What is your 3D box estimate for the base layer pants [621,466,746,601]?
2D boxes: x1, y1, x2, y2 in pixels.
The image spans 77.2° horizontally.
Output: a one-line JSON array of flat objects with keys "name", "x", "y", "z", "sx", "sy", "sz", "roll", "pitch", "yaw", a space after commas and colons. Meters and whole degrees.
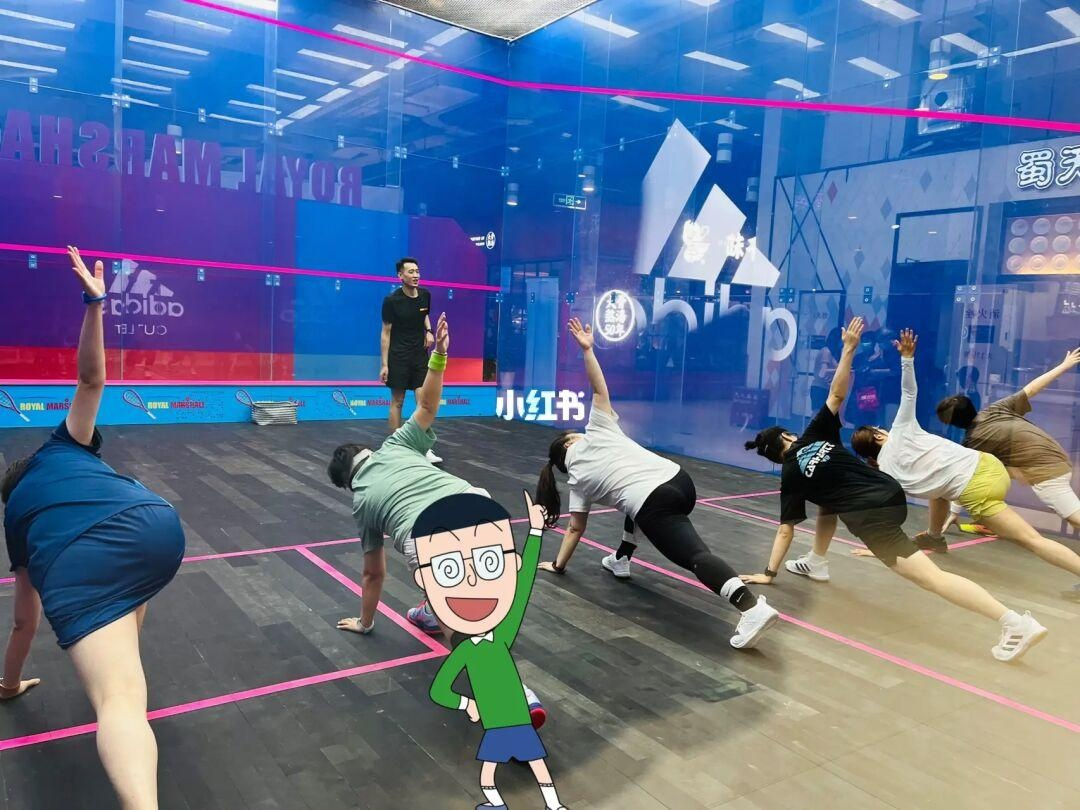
[{"name": "base layer pants", "x": 0.781, "y": 0.691, "z": 3.437, "sx": 0.345, "sy": 0.584, "sz": 0.600, "roll": -3, "pitch": 11, "yaw": -25}]

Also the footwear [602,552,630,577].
[{"name": "footwear", "x": 0.495, "y": 1.029, "z": 4.360, "sx": 0.085, "sy": 0.099, "sz": 0.230, "roll": 1, "pitch": 6, "yaw": -13}]

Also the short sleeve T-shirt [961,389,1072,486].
[{"name": "short sleeve T-shirt", "x": 2.011, "y": 0.135, "z": 2.804, "sx": 0.191, "sy": 0.329, "sz": 0.419, "roll": -2, "pitch": 11, "yaw": -19}]

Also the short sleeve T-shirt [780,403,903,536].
[{"name": "short sleeve T-shirt", "x": 1.512, "y": 0.356, "z": 3.535, "sx": 0.526, "sy": 0.279, "sz": 0.604, "roll": -34, "pitch": 32, "yaw": -7}]

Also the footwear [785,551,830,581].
[{"name": "footwear", "x": 1.671, "y": 0.994, "z": 4.211, "sx": 0.115, "sy": 0.121, "sz": 0.265, "roll": -3, "pitch": 5, "yaw": -24}]

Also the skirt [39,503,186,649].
[{"name": "skirt", "x": -1.531, "y": 0.514, "z": 2.334, "sx": 0.362, "sy": 0.579, "sz": 0.414, "roll": 4, "pitch": 5, "yaw": -17}]

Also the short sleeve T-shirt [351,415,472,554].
[{"name": "short sleeve T-shirt", "x": -0.603, "y": 0.323, "z": 2.826, "sx": 0.442, "sy": 0.290, "sz": 0.662, "roll": -34, "pitch": 17, "yaw": -21}]

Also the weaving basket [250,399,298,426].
[{"name": "weaving basket", "x": -3.746, "y": 0.097, "z": 9.516, "sx": 0.490, "sy": 0.220, "sz": 0.356, "roll": 0, "pitch": 0, "yaw": -31}]

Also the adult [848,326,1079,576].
[{"name": "adult", "x": 1.958, "y": 0.299, "z": 3.276, "sx": 0.395, "sy": 0.936, "sz": 1.320, "roll": -14, "pitch": 12, "yaw": -27}]

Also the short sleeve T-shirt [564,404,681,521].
[{"name": "short sleeve T-shirt", "x": 0.406, "y": 0.314, "z": 3.862, "sx": 0.692, "sy": 0.448, "sz": 0.507, "roll": 20, "pitch": 11, "yaw": 42}]

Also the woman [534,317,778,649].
[{"name": "woman", "x": 0.623, "y": 0.421, "z": 3.721, "sx": 0.546, "sy": 1.385, "sz": 2.040, "roll": -1, "pitch": 9, "yaw": -28}]

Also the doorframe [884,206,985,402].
[{"name": "doorframe", "x": 3.263, "y": -0.722, "z": 5.683, "sx": 0.897, "sy": 1.615, "sz": 0.117, "roll": 3, "pitch": -2, "yaw": -10}]

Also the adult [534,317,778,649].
[{"name": "adult", "x": 0.623, "y": 0.435, "z": 3.738, "sx": 0.587, "sy": 1.446, "sz": 2.153, "roll": -1, "pitch": 9, "yaw": -26}]

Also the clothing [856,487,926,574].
[{"name": "clothing", "x": 1.676, "y": 0.617, "z": 3.261, "sx": 0.238, "sy": 0.312, "sz": 0.267, "roll": 4, "pitch": 11, "yaw": 11}]

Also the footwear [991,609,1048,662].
[{"name": "footwear", "x": 1.932, "y": 0.961, "z": 2.784, "sx": 0.096, "sy": 0.266, "sz": 0.144, "roll": -26, "pitch": 66, "yaw": -43}]

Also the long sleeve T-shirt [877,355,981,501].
[{"name": "long sleeve T-shirt", "x": 1.860, "y": 0.141, "z": 3.235, "sx": 0.558, "sy": 0.268, "sz": 0.544, "roll": 6, "pitch": 46, "yaw": 50}]

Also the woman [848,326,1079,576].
[{"name": "woman", "x": 1.826, "y": 0.291, "z": 3.238, "sx": 0.395, "sy": 0.936, "sz": 1.320, "roll": -14, "pitch": 12, "yaw": -27}]
